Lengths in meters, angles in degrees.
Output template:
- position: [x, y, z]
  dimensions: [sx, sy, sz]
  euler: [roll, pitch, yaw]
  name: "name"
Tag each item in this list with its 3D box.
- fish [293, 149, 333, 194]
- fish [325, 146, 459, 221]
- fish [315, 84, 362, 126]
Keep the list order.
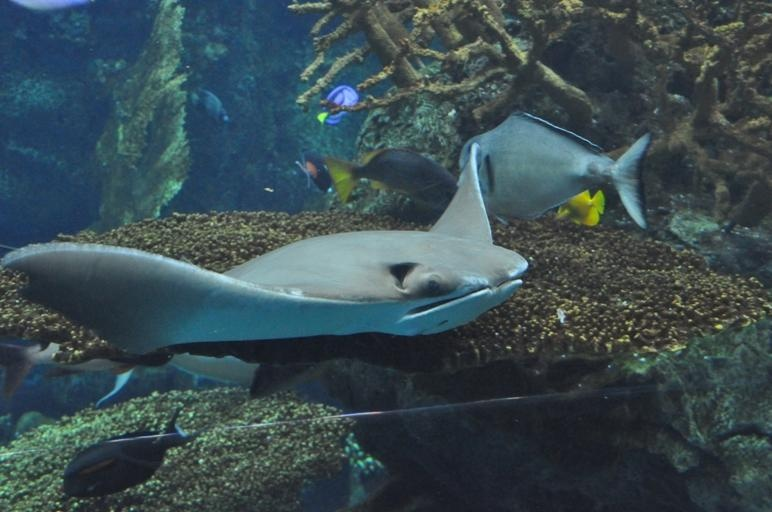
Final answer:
- position: [-1.004, -1.185, 11.829]
  dimensions: [0.614, 0.225, 0.601]
  euler: [37, 4, -4]
  name: "fish"
- position: [0.040, -0.776, 8.791]
  dimensions: [1.474, 0.575, 0.269]
  euler: [0, 1, -36]
  name: "fish"
- position: [-0.569, -1.831, 10.627]
  dimensions: [0.362, 0.106, 0.635]
  euler: [31, 56, 13]
  name: "fish"
